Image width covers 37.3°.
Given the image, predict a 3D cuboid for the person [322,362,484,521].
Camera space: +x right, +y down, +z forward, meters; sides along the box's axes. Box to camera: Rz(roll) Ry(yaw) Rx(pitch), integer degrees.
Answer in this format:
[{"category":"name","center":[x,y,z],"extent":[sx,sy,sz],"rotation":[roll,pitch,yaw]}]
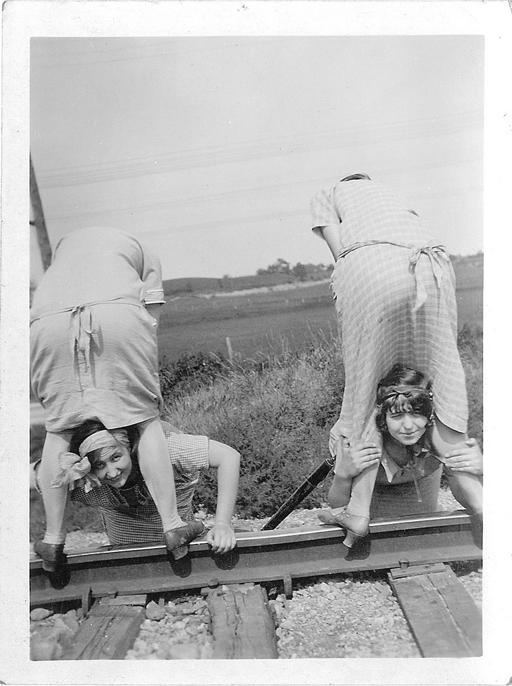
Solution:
[{"category":"person","center":[0.584,0.441,2.925],"extent":[0.699,0.625,0.397],"rotation":[1,24,12]}]

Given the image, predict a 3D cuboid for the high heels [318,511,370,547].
[{"category":"high heels","center":[0.338,0.683,2.883],"extent":[0.079,0.112,0.210],"rotation":[-4,17,-36]}]

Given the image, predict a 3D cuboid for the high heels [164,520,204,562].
[{"category":"high heels","center":[-0.263,0.710,2.790],"extent":[0.174,0.104,0.085],"rotation":[-43,2,-17]}]

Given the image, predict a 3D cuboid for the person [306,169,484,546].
[{"category":"person","center":[0.508,-0.107,2.922],"extent":[0.542,1.083,0.328],"rotation":[-6,10,3]}]

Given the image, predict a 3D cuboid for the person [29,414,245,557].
[{"category":"person","center":[-0.619,0.681,3.236],"extent":[0.866,0.463,1.379],"rotation":[-12,-20,34]}]

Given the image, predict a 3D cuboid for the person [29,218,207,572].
[{"category":"person","center":[-0.571,0.195,2.793],"extent":[0.596,1.201,0.394],"rotation":[-8,11,-7]}]

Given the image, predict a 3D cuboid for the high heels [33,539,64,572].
[{"category":"high heels","center":[-0.752,0.778,2.751],"extent":[0.071,0.086,0.130],"rotation":[3,18,-20]}]
